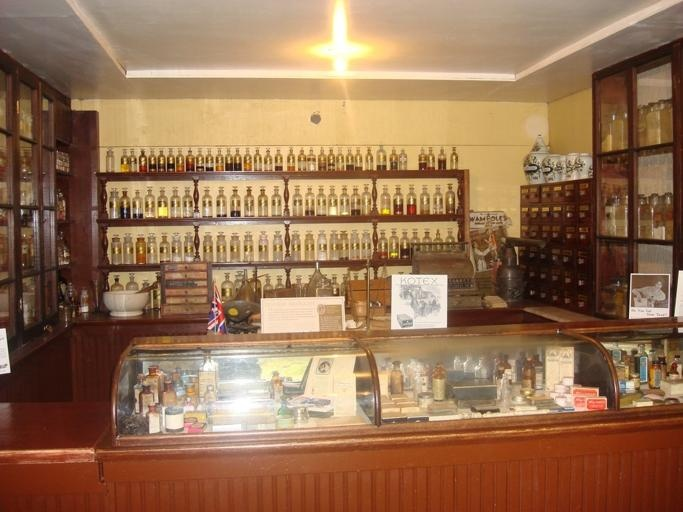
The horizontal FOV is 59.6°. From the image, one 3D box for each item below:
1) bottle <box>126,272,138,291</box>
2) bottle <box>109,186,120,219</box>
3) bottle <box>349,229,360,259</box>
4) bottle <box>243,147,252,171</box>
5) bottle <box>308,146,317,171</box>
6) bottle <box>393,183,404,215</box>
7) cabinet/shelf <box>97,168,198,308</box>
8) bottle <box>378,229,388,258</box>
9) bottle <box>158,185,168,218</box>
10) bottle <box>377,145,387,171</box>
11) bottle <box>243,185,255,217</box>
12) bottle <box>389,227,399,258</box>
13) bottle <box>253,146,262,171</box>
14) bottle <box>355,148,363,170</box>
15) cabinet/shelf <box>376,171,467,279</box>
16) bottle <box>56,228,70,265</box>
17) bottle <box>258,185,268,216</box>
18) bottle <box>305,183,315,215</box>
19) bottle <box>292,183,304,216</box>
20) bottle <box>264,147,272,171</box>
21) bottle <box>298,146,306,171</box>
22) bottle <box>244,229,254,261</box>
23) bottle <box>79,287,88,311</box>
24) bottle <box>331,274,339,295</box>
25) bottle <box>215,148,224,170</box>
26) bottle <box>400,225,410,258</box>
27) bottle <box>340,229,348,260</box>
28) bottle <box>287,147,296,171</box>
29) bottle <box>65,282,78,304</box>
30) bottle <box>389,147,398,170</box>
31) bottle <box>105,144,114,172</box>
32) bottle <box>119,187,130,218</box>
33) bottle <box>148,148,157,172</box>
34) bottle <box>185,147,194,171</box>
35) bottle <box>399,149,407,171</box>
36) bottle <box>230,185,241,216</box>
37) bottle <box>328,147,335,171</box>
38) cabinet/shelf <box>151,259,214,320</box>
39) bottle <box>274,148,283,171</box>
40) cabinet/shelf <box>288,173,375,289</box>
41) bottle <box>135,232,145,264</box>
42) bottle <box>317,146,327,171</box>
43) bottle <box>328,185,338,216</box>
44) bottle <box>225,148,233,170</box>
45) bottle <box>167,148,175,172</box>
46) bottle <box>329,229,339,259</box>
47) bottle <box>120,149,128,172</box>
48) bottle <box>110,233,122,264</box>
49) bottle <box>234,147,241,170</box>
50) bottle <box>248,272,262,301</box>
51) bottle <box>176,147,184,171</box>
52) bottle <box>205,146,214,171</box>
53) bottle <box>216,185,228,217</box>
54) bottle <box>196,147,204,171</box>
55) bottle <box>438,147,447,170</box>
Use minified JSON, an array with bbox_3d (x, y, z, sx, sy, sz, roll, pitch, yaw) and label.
[{"bbox_3d":[-2.148,0.258,6.144,0.107,0.165,0.471,0,0,-20],"label":"bottle"},{"bbox_3d":[-2.367,-0.558,6.208,0.103,0.324,0.212,0,-1,-21],"label":"bottle"},{"bbox_3d":[0.142,-0.108,6.341,0.106,0.287,0.178,0,-1,2],"label":"bottle"},{"bbox_3d":[-0.970,-0.971,6.204,0.097,0.196,0.107,0,-1,-9],"label":"bottle"},{"bbox_3d":[-0.311,-1.037,6.375,0.099,0.295,0.291,0,0,-2],"label":"bottle"},{"bbox_3d":[0.622,-0.608,6.460,0.106,0.347,0.352,0,0,6],"label":"bottle"},{"bbox_3d":[-1.856,-0.039,6.032,1.030,1.347,0.471,-5,1,-11],"label":"cabinet/shelf"},{"bbox_3d":[0.460,-0.127,6.376,0.099,0.283,0.222,0,0,4],"label":"bottle"},{"bbox_3d":[-1.848,-0.515,6.173,0.108,0.240,0.144,0,-1,-7],"label":"bottle"},{"bbox_3d":[0.439,-1.071,6.489,0.116,0.296,0.258,0,0,5],"label":"bottle"},{"bbox_3d":[-0.972,-0.582,6.306,0.112,0.358,0.349,0,0,-8],"label":"bottle"},{"bbox_3d":[0.564,-0.100,6.338,0.102,0.229,0.093,0,-1,0],"label":"bottle"},{"bbox_3d":[-0.876,-1.024,6.306,0.091,0.283,0.262,0,0,-8],"label":"bottle"},{"bbox_3d":[0.195,-1.054,6.450,0.079,0.272,0.250,0,0,2],"label":"bottle"},{"bbox_3d":[0.805,-0.322,6.123,1.047,1.120,0.359,0,-7,-5],"label":"cabinet/shelf"},{"bbox_3d":[-2.789,-0.090,5.984,0.111,0.352,0.262,0,-1,-26],"label":"bottle"},{"bbox_3d":[-0.834,-0.573,6.309,0.105,0.337,0.314,0,0,-8],"label":"bottle"},{"bbox_3d":[-0.330,-0.558,6.337,0.098,0.267,0.187,0,0,-2],"label":"bottle"},{"bbox_3d":[-0.466,-0.599,6.392,0.122,0.348,0.292,0,0,-4],"label":"bottle"},{"bbox_3d":[-0.783,-1.047,6.376,0.099,0.239,0.148,0,-1,-6],"label":"bottle"},{"bbox_3d":[-0.422,-1.031,6.354,0.088,0.289,0.293,0,0,-4],"label":"bottle"},{"bbox_3d":[-0.979,-0.103,6.308,0.098,0.317,0.300,0,0,-8],"label":"bottle"},{"bbox_3d":[-2.607,0.446,6.038,0.088,0.253,0.200,0,-1,-23],"label":"bottle"},{"bbox_3d":[-0.061,0.298,6.302,0.084,0.213,0.307,0,0,-3],"label":"bottle"},{"bbox_3d":[-1.258,-0.970,6.208,0.087,0.196,0.116,0,-1,-39],"label":"bottle"},{"bbox_3d":[0.677,-0.118,6.342,0.099,0.264,0.101,0,-1,0],"label":"bottle"},{"bbox_3d":[0.032,-0.109,6.327,0.100,0.287,0.190,0,0,0],"label":"bottle"},{"bbox_3d":[-0.530,-1.037,6.352,0.085,0.282,0.254,0,0,-4],"label":"bottle"},{"bbox_3d":[-2.755,0.377,6.082,0.099,0.219,0.239,0,-1,-23],"label":"bottle"},{"bbox_3d":[0.578,-1.065,6.503,0.102,0.282,0.270,0,0,5],"label":"bottle"},{"bbox_3d":[-2.399,-1.002,6.178,0.092,0.280,0.209,0,-1,-21],"label":"bottle"},{"bbox_3d":[-2.223,-0.499,6.110,0.118,0.240,0.108,0,-1,0],"label":"bottle"},{"bbox_3d":[-1.940,-0.957,6.124,0.084,0.183,0.054,-1,-1,29],"label":"bottle"},{"bbox_3d":[-1.554,-0.975,6.152,0.111,0.205,0.095,-1,-1,41],"label":"bottle"},{"bbox_3d":[0.681,-1.056,6.520,0.082,0.259,0.275,0,0,8],"label":"bottle"},{"bbox_3d":[-1.120,-0.574,6.305,0.112,0.340,0.326,0,0,-9],"label":"bottle"},{"bbox_3d":[-0.102,-0.991,6.289,0.081,0.197,0.083,0,-1,0],"label":"bottle"},{"bbox_3d":[-1.475,0.287,5.879,0.595,0.711,0.480,0,0,-6],"label":"cabinet/shelf"},{"bbox_3d":[-0.662,-1.019,6.316,0.099,0.272,0.281,0,0,-6],"label":"bottle"},{"bbox_3d":[-0.132,-0.257,6.216,1.163,1.097,0.383,0,-2,-2],"label":"cabinet/shelf"},{"bbox_3d":[-2.079,-0.067,6.169,0.099,0.286,0.148,0,-1,-20],"label":"bottle"},{"bbox_3d":[-0.201,-0.982,6.283,0.101,0.175,0.050,0,-1,13],"label":"bottle"},{"bbox_3d":[-0.092,-0.549,6.324,0.107,0.245,0.125,0,-1,-1],"label":"bottle"},{"bbox_3d":[-1.185,-1.021,6.295,0.076,0.276,0.243,0,0,-11],"label":"bottle"},{"bbox_3d":[-1.776,-1.006,6.216,0.074,0.284,0.264,0,-1,-17],"label":"bottle"},{"bbox_3d":[-0.081,-0.112,6.341,0.089,0.295,0.188,0,-1,-2],"label":"bottle"},{"bbox_3d":[-2.241,-0.991,6.186,0.078,0.254,0.211,0,-1,-20],"label":"bottle"},{"bbox_3d":[-2.346,-0.077,6.216,0.122,0.318,0.326,0,-1,-21],"label":"bottle"},{"bbox_3d":[-1.094,-1.022,6.300,0.076,0.278,0.237,0,0,-10],"label":"bottle"},{"bbox_3d":[-0.881,0.299,6.121,0.121,0.308,0.608,0,0,-8],"label":"bottle"},{"bbox_3d":[-1.684,-1.008,6.232,0.095,0.286,0.270,0,0,-13],"label":"bottle"},{"bbox_3d":[-1.372,-0.974,6.188,0.088,0.185,0.055,0,-1,0],"label":"bottle"},{"bbox_3d":[-1.263,-0.571,6.283,0.110,0.336,0.317,0,0,-11],"label":"bottle"},{"bbox_3d":[-1.455,-0.970,6.150,0.087,0.217,0.152,0,-1,-10],"label":"bottle"},{"bbox_3d":[1.112,-1.075,6.560,0.103,0.285,0.268,0,0,10],"label":"bottle"}]
